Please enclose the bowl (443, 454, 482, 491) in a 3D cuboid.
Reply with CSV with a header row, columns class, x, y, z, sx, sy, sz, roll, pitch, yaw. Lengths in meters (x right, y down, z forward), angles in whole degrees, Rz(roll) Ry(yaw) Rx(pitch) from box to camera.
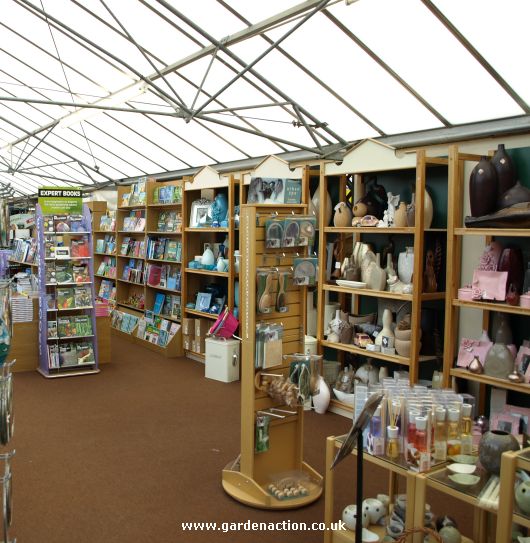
class,x,y,z,sx,sy,sz,roll,pitch,yaw
bowl,0.815,0.816,1.866,0.134,0.040,0.252,2,2,26
